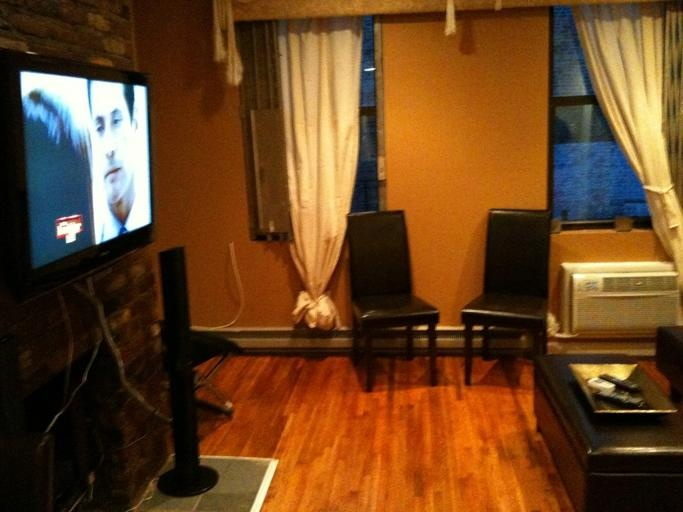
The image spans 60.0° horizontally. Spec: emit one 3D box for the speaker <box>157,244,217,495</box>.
[{"bbox_3d":[-0.879,0.607,3.097,0.322,1.308,0.325,-9,16,-22],"label":"speaker"}]

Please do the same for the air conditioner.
[{"bbox_3d":[2.019,0.311,4.267,0.607,0.386,0.177,-1,4,7],"label":"air conditioner"}]

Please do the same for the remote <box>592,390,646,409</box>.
[{"bbox_3d":[1.416,0.717,3.006,0.155,0.034,0.086,7,13,25],"label":"remote"}]

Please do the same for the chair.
[{"bbox_3d":[0.788,0.273,4.296,1.480,1.139,0.763,-2,15,3],"label":"chair"}]
